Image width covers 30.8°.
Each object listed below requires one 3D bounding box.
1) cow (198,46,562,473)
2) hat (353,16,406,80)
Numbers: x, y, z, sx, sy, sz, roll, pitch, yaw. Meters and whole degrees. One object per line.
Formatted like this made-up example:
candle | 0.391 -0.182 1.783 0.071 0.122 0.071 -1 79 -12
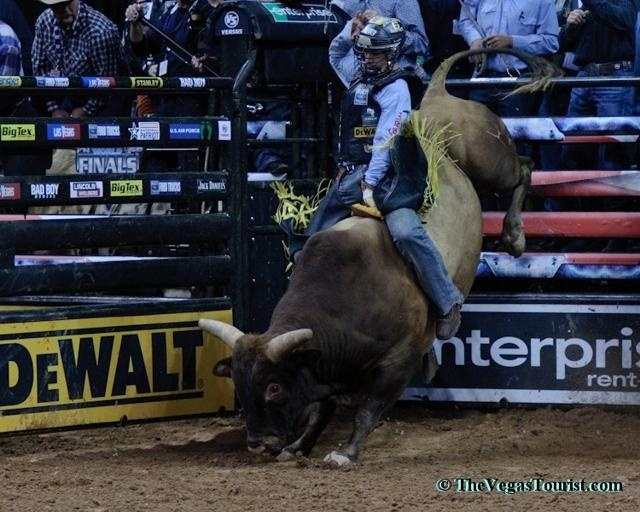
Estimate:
cow | 0.456 0.106 8.854 0.719 2.648 2.807 7 10 42
hat | 0.490 -1.626 9.021 0.434 0.434 0.465 19 37 40
